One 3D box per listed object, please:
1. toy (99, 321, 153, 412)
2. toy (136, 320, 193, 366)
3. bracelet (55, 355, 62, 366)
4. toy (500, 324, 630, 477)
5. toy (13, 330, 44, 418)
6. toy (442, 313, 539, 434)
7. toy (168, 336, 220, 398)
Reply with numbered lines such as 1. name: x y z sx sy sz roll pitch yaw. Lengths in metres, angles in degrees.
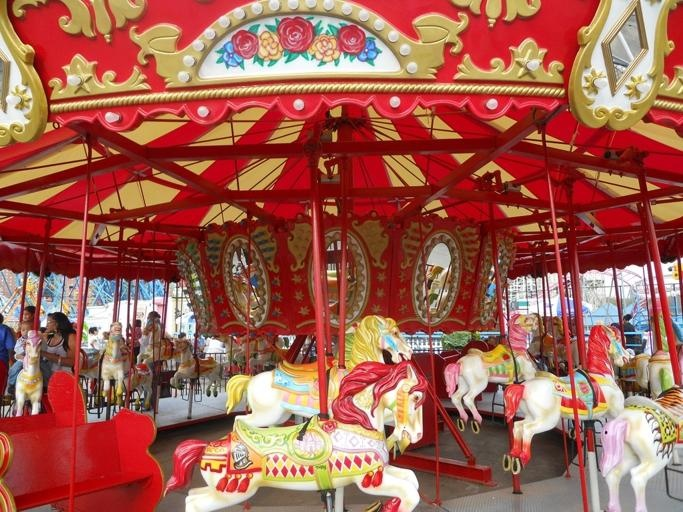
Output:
1. toy: -3.335 1.758 9.827 0.371 1.192 1.434 -3 -21 13
2. toy: -3.242 1.652 11.793 1.113 0.970 0.364 12 3 -31
3. bracelet: -3.973 1.475 8.782 0.096 0.133 0.045 6 -11 -18
4. toy: 2.326 1.330 6.298 1.299 1.473 0.461 -1 3 -13
5. toy: -3.929 1.528 7.847 0.261 1.086 1.085 6 -15 -29
6. toy: 1.900 1.306 7.339 1.328 1.395 0.341 -3 10 -7
7. toy: -2.611 1.992 11.392 0.999 0.945 0.291 7 -18 -39
